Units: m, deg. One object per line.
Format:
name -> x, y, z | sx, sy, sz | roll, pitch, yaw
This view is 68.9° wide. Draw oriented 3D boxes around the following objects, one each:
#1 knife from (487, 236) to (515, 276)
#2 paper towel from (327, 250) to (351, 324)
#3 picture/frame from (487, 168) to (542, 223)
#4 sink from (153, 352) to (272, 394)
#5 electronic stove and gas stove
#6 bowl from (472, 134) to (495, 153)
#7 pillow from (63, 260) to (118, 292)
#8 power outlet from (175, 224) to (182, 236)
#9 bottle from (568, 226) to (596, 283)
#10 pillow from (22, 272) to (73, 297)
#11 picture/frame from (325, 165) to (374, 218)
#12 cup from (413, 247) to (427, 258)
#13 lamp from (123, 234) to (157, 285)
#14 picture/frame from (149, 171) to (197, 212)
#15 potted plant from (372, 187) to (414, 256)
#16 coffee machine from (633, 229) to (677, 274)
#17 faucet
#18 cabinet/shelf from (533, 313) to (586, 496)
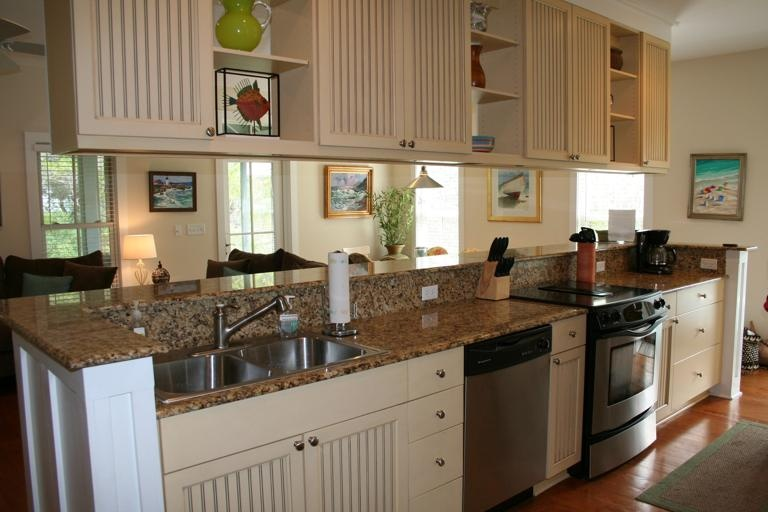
knife -> 0.801, 0.016, 3.851 | 0.160, 0.283, 0.131 | 1, -4, -14
paper towel -> -0.244, 0.177, 3.115 | 0.129, 0.405, 0.116 | -1, 2, 9
picture/frame -> 1.693, -0.760, 7.161 | 0.721, 0.709, 0.052 | 7, 10, 44
sink -> -0.827, 0.579, 2.685 | 0.355, 0.212, 0.280 | -3, 9, -44
electronic stove and gas stove -> 1.475, 0.381, 4.055 | 0.890, 0.217, 0.793 | -5, 7, -37
bowl -> 0.691, -0.742, 3.827 | 0.169, 0.079, 0.161 | -1, 6, 0
pillow -> -2.968, 0.219, 5.610 | 0.631, 0.226, 0.329 | 7, 13, 29
power outlet -> -2.498, -0.304, 6.823 | 0.092, 0.139, 0.027 | -11, 17, -42
bottle -> 1.601, 0.003, 4.480 | 0.224, 0.434, 0.249 | -4, 5, -39
pillow -> -3.325, 0.291, 5.513 | 0.522, 0.201, 0.285 | 3, 12, 13
picture/frame -> -0.518, -0.938, 8.330 | 0.952, 0.748, 0.067 | -6, 11, -39
cup -> 0.543, -0.041, 8.267 | 0.181, 0.171, 0.172 | 2, 6, 0
lamp -> -2.804, 0.059, 6.463 | 0.373, 0.612, 0.427 | -5, 13, -22
picture/frame -> -2.562, -0.774, 6.730 | 0.520, 0.446, 0.034 | -7, 11, -41
potted plant -> 0.190, -0.478, 8.453 | 0.637, 1.049, 0.898 | -2, 12, -12
coffee machine -> 2.397, -0.023, 4.962 | 0.441, 0.439, 0.297 | 1, 4, 43
faucet -> -0.646, 0.340, 2.827 | 0.491, 0.244, 0.089 | -5, -1, 25
cabinet/shelf -> 1.155, 0.880, 3.556 | 0.157, 0.975, 0.467 | 12, 17, 42
